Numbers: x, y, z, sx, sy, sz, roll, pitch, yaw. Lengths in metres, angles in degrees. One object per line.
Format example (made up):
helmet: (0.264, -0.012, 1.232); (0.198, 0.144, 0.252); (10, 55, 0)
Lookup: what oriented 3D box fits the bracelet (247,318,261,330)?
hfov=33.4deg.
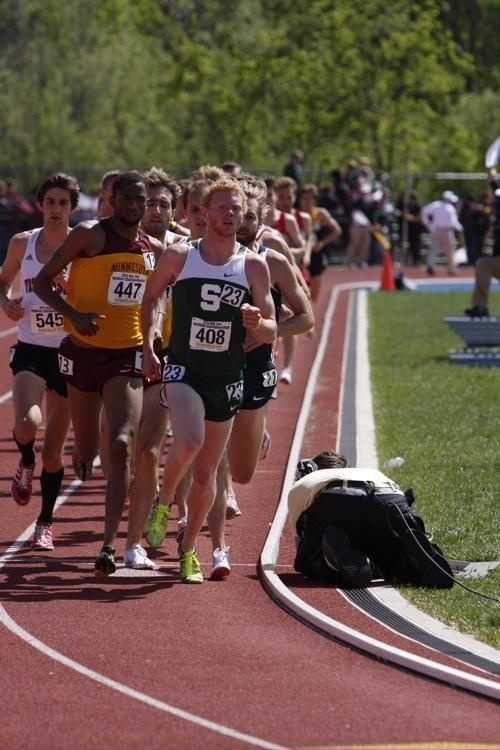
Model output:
bracelet: (0.032, -0.231, 3.762); (0.049, 0.042, 0.070); (-12, 18, 7)

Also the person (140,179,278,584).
person: (-0.202, 0.074, 3.972); (0.648, 1.971, 0.602); (0, 0, 6)

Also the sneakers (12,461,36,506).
sneakers: (-1.446, 0.692, 5.326); (0.136, 0.344, 0.157); (11, 19, -13)

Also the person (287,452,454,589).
person: (0.638, 0.789, 4.389); (0.513, 0.425, 0.981); (-6, 20, -2)
